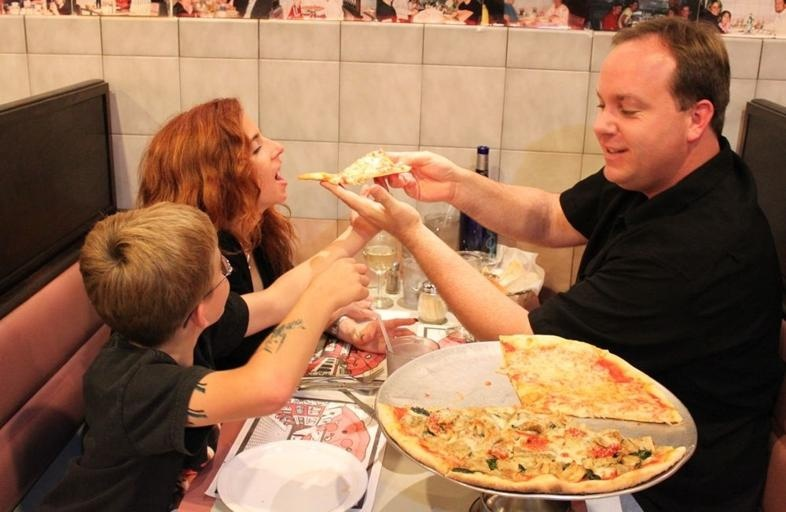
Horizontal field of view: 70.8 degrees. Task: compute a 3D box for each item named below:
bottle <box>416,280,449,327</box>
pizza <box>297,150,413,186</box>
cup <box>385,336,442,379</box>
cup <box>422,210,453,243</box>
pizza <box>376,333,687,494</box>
[{"bbox_3d":[0.150,0.197,2.226,0.152,0.162,0.153,-4,22,-9],"label":"bottle"},{"bbox_3d":[-0.130,-0.347,2.058,0.352,0.039,0.196,-15,33,-26],"label":"pizza"},{"bbox_3d":[0.061,0.301,1.740,0.125,0.129,0.138,0,17,3],"label":"cup"},{"bbox_3d":[0.218,-0.147,2.691,0.137,0.146,0.151,-2,19,-4],"label":"cup"},{"bbox_3d":[0.347,0.406,1.463,0.722,0.094,0.721,8,22,22],"label":"pizza"}]
